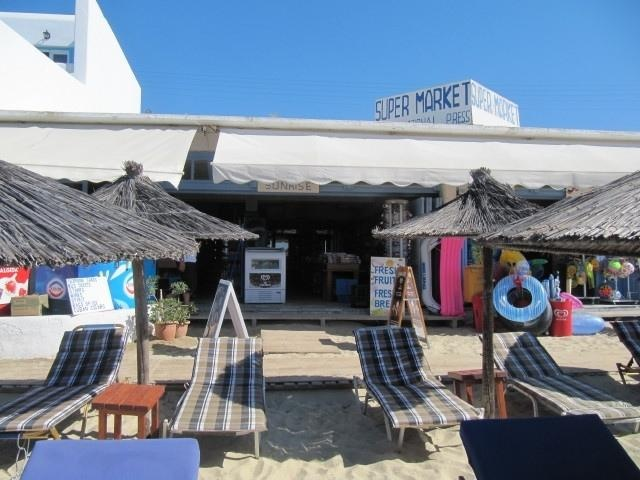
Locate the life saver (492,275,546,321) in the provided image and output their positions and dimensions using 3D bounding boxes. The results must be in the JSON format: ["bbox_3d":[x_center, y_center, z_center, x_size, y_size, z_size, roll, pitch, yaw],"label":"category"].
[{"bbox_3d":[4.370,1.328,14.371,1.381,1.343,0.779,-3,-21,13],"label":"life saver"}]

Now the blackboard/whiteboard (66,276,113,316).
[{"bbox_3d":[-4.731,1.156,13.363,0.059,0.665,0.858,-18,-7,27],"label":"blackboard/whiteboard"}]

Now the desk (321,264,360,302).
[{"bbox_3d":[0.569,1.205,18.612,1.056,1.044,1.059,0,-2,0],"label":"desk"}]
